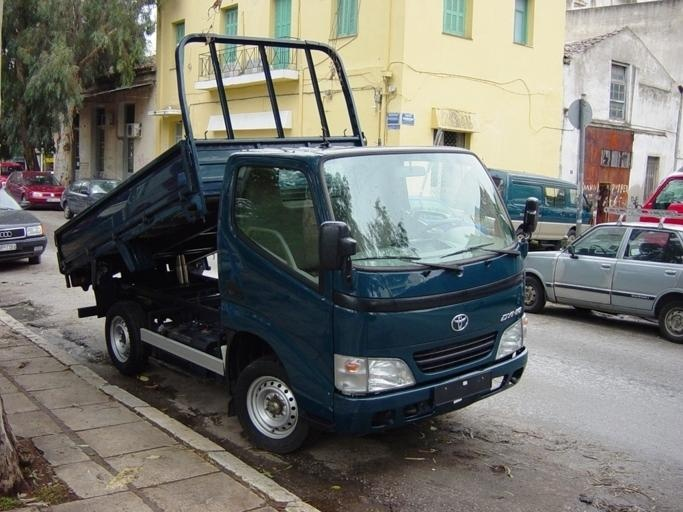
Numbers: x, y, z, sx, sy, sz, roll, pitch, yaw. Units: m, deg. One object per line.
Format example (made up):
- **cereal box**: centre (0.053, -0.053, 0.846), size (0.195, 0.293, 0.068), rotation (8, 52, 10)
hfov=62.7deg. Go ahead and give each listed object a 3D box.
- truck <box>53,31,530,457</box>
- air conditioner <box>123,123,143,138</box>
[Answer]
- **truck**: centre (-0.709, -0.371, 7.390), size (3.036, 4.160, 6.647), rotation (-6, 12, -41)
- **air conditioner**: centre (-12.037, -7.338, 32.702), size (1.133, 0.810, 0.633), rotation (7, 11, 28)
